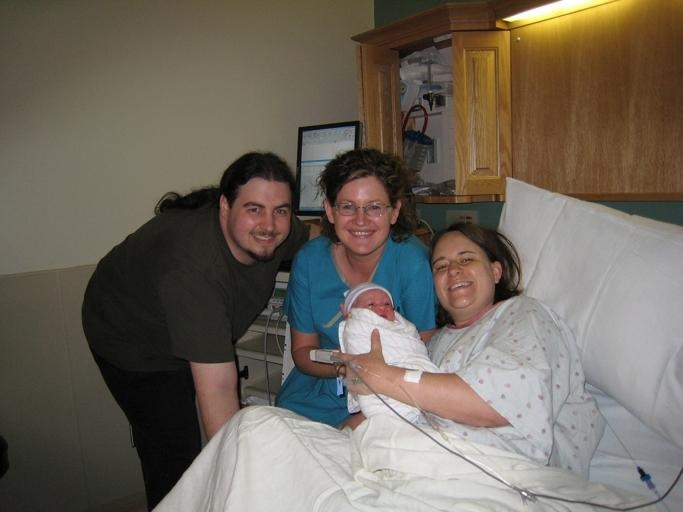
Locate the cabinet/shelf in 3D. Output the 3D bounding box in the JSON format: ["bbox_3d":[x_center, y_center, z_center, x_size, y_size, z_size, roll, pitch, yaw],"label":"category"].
[{"bbox_3d":[0.472,-0.752,2.624,0.367,1.006,1.077,-18,18,-40],"label":"cabinet/shelf"}]

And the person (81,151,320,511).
[{"bbox_3d":[-0.581,0.292,2.122,0.788,1.355,0.627,4,13,36],"label":"person"}]

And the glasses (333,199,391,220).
[{"bbox_3d":[0.080,-0.164,1.908,0.204,0.071,0.059,-2,10,7],"label":"glasses"}]
